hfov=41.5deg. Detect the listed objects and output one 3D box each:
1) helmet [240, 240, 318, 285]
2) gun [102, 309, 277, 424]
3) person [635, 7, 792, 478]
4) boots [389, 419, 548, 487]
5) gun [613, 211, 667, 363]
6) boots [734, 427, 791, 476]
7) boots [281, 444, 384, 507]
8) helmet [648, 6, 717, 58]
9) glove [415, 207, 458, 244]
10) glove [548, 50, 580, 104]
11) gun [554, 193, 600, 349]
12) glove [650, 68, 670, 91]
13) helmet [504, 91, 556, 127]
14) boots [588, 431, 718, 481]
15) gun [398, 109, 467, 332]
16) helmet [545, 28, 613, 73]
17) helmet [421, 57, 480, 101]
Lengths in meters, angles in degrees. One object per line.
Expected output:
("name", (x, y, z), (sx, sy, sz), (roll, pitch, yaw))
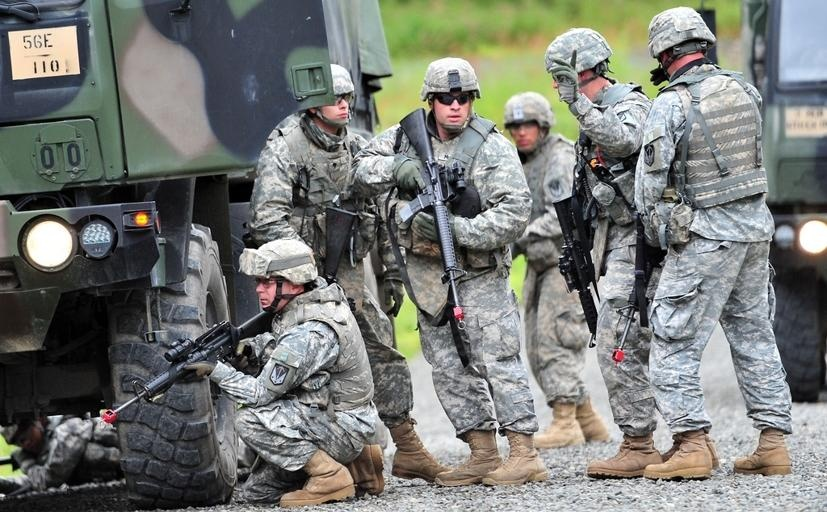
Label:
("helmet", (-0.870, 0.038, 7.101), (0.389, 0.217, 0.286), (5, 0, -5))
("gun", (-1.456, 0.714, 6.951), (0.163, 0.369, 0.879), (33, 54, 24))
("person", (1.926, -0.072, 7.267), (0.969, 3.134, 0.394), (-6, 3, 3))
("boots", (0.383, 1.400, 7.661), (1.029, 0.469, 0.360), (4, -2, 7))
("gun", (1.542, 0.247, 7.400), (0.165, 0.965, 0.350), (16, 10, 5))
("boots", (2.361, 1.326, 7.441), (0.192, 0.327, 0.441), (2, -1, -41))
("boots", (-0.498, 1.444, 7.222), (0.839, 0.515, 0.286), (-2, -6, -16))
("helmet", (1.793, -1.469, 7.367), (0.316, 0.271, 0.353), (-3, 4, 23))
("glove", (0.130, -0.221, 7.524), (0.197, 0.271, 0.084), (17, 17, 30))
("glove", (1.035, -1.203, 7.448), (0.187, 0.370, 0.301), (-5, 4, 9))
("gun", (1.241, 0.145, 8.266), (0.236, 1.232, 0.497), (-11, -2, 25))
("glove", (1.675, -1.228, 7.555), (0.166, 0.114, 0.058), (-17, -5, 20))
("helmet", (1.028, -1.261, 9.700), (0.332, 0.271, 0.352), (-1, -4, 7))
("boots", (1.661, 1.369, 7.624), (1.000, 0.454, 0.347), (1, -3, -5))
("gun", (0.149, -0.260, 7.522), (0.514, 0.990, 0.318), (-3, 5, 43))
("helmet", (1.135, -1.390, 7.491), (0.419, 0.262, 0.306), (-35, 15, -28))
("helmet", (0.241, -1.209, 7.580), (0.296, 0.207, 0.319), (-1, 6, -5))
